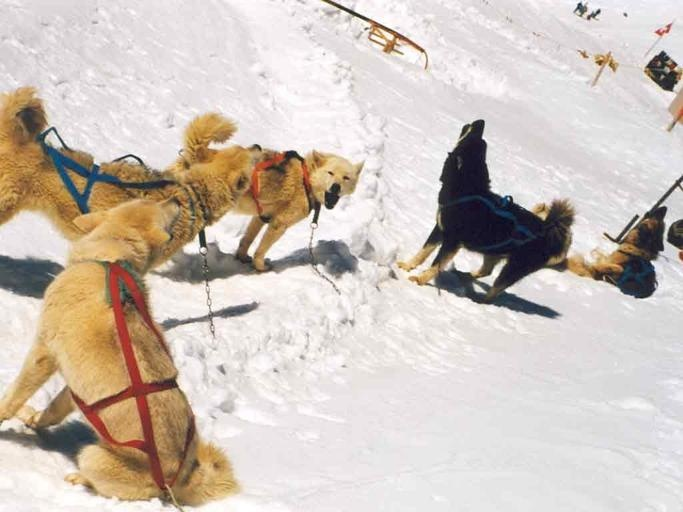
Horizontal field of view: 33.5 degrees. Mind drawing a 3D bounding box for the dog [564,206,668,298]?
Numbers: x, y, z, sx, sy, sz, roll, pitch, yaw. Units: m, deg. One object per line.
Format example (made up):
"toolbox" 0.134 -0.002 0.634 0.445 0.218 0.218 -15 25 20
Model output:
"dog" 7.198 0.000 29.608 1.335 0.591 2.414 31 56 19
